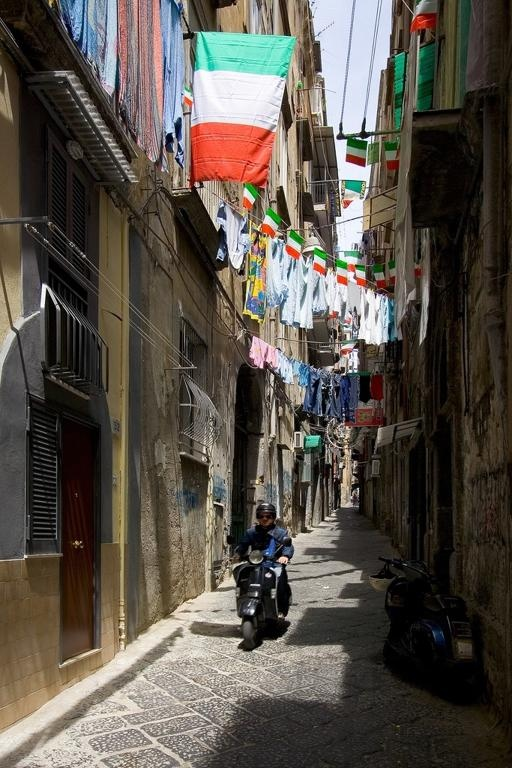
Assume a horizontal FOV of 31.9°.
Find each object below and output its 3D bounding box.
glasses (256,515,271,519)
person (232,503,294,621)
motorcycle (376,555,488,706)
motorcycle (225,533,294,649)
[{"bbox_3d":[0.065,1.256,8.705,0.158,0.055,0.139,-1,-6,16],"label":"glasses"},{"bbox_3d":[0.054,1.896,8.747,0.480,1.090,1.289,3,0,11],"label":"person"},{"bbox_3d":[1.194,1.647,6.468,0.294,0.843,1.094,5,0,-17],"label":"motorcycle"},{"bbox_3d":[0.094,1.868,8.406,0.310,0.929,1.113,-2,-5,16],"label":"motorcycle"}]
